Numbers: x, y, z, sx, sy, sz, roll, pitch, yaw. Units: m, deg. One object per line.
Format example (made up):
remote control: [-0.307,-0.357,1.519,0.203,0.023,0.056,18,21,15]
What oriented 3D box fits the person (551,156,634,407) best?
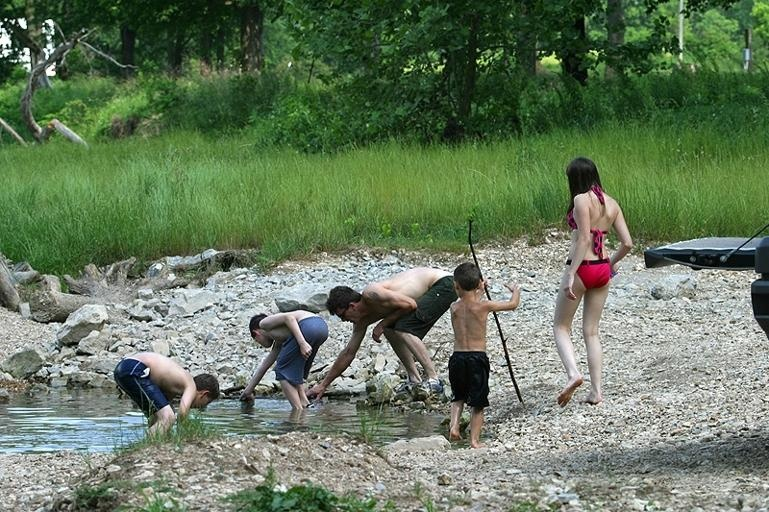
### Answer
person: [3.401,0.434,20.599,1.422,4.260,0.845,-8,5,-27]

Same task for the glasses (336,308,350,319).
glasses: [-0.747,1.035,21.718,0.231,0.130,0.176,-25,11,-36]

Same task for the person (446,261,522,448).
person: [1.532,1.646,20.409,1.232,3.052,0.740,-5,5,9]
